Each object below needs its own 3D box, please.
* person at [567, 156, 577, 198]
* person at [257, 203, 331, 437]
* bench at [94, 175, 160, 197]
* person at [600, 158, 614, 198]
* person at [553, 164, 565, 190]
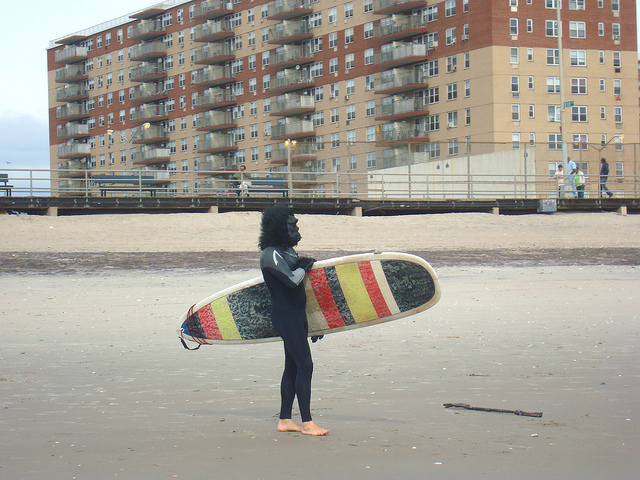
[{"bbox_3d":[9.139,-2.269,45.281,0.333,1.507,0.772,0,2,11],"label":"person"},{"bbox_3d":[-0.497,1.294,19.576,0.907,3.603,0.392,0,3,2],"label":"person"},{"bbox_3d":[-7.497,-2.171,47.891,1.939,0.852,11.471,-1,2,-9],"label":"bench"},{"bbox_3d":[10.429,-2.244,45.525,0.421,1.438,0.720,0,2,16],"label":"person"},{"bbox_3d":[8.637,-2.268,45.209,0.403,0.919,0.772,0,2,10],"label":"person"}]
